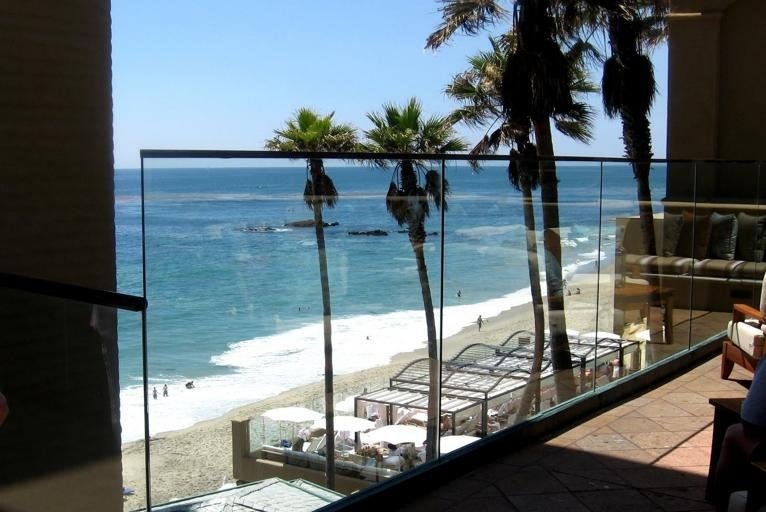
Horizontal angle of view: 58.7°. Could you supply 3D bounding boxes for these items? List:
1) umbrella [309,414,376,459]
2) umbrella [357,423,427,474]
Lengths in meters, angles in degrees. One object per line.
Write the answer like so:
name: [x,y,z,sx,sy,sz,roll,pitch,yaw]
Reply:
umbrella: [-0.242,1.033,4.047,0.277,0.154,0.267,-8,16,-38]
umbrella: [0.078,1.210,4.377,0.406,0.216,0.359,-5,9,-32]
